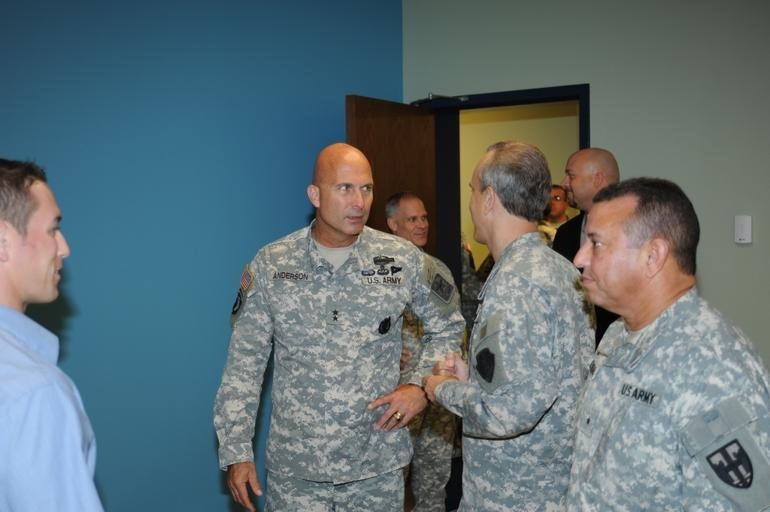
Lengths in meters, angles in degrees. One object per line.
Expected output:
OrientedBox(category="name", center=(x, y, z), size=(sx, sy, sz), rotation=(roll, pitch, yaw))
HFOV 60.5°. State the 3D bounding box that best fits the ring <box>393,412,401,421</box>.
OrientedBox(category="ring", center=(0.053, 0.690, 2.840), size=(0.034, 0.033, 0.008), rotation=(3, 3, 10))
